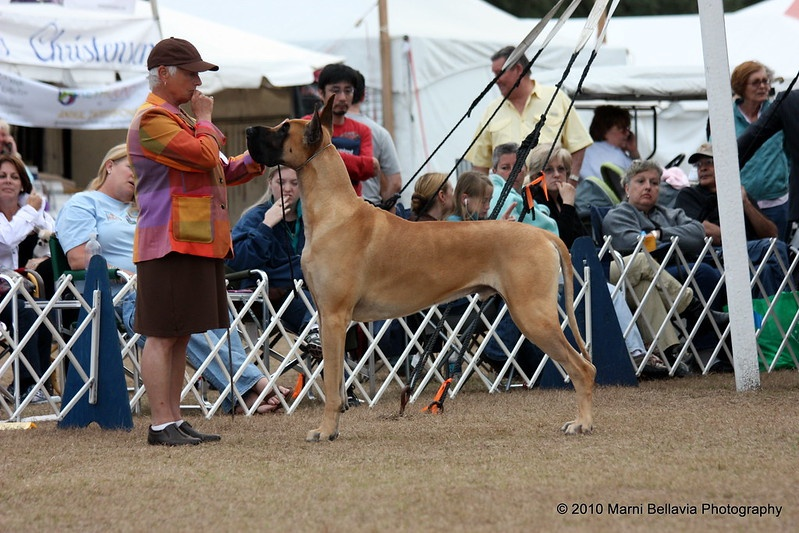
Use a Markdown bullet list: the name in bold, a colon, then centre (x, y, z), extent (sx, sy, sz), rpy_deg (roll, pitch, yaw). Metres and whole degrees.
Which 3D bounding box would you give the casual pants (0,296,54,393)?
- **casual pants**: centre (-3.846, 0.820, 17.567), extent (0.478, 0.996, 0.863), rpy_deg (0, 0, -5)

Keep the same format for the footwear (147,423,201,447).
- **footwear**: centre (-2.164, 1.606, 16.303), extent (0.530, 0.189, 0.198), rpy_deg (0, -5, 5)

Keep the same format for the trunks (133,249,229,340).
- **trunks**: centre (-2.100, 0.348, 16.818), extent (0.770, 0.951, 1.279), rpy_deg (-1, 0, -7)

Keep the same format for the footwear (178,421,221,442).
- **footwear**: centre (-1.936, 1.553, 16.433), extent (0.489, 0.179, 0.159), rpy_deg (7, 4, -6)

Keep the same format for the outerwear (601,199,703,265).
- **outerwear**: centre (2.761, -0.426, 18.513), extent (0.819, 0.332, 0.803), rpy_deg (8, 9, 18)

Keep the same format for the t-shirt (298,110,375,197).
- **t-shirt**: centre (-0.649, -1.135, 17.245), extent (0.932, 1.002, 0.582), rpy_deg (-11, 4, 0)

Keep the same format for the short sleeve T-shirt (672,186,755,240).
- **short sleeve T-shirt**: centre (3.695, -0.759, 19.508), extent (0.970, 0.315, 0.720), rpy_deg (17, -8, 10)

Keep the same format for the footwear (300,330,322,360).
- **footwear**: centre (-0.908, 0.792, 17.641), extent (0.162, 0.198, 0.454), rpy_deg (1, 7, -15)

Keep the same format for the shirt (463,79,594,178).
- **shirt**: centre (1.542, -1.570, 19.647), extent (1.723, 1.249, 0.649), rpy_deg (6, -8, 7)

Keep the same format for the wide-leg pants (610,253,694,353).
- **wide-leg pants**: centre (2.704, 0.367, 18.251), extent (0.905, 1.069, 0.480), rpy_deg (0, 0, 3)

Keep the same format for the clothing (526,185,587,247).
- **clothing**: centre (1.629, -0.527, 18.039), extent (0.176, 0.657, 0.386), rpy_deg (-18, -12, 41)

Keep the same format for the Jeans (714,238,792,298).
- **Jeans**: centre (3.949, -0.046, 18.827), extent (0.744, 0.682, 0.275), rpy_deg (1, 11, -21)

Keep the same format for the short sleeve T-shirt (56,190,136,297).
- **short sleeve T-shirt**: centre (-3.099, -0.196, 17.426), extent (0.604, 0.944, 1.042), rpy_deg (-11, -10, 34)
